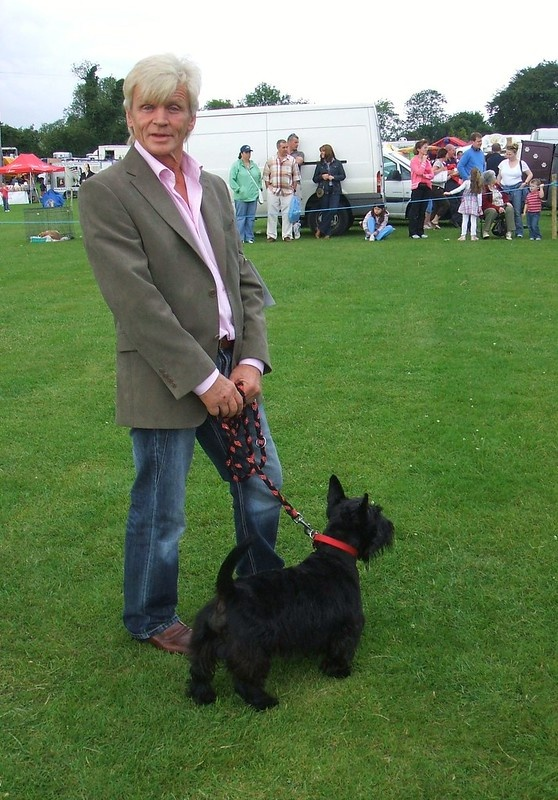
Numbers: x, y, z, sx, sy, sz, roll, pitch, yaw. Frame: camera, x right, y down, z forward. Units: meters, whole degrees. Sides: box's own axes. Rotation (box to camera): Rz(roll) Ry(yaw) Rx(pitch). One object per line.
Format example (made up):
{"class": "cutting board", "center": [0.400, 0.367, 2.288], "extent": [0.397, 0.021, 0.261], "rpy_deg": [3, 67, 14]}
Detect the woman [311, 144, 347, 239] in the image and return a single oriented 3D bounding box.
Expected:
{"class": "woman", "center": [1.015, -4.208, 14.061], "extent": [0.642, 1.790, 0.801], "rpy_deg": [3, 16, 4]}

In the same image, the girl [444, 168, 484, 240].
{"class": "girl", "center": [3.703, -3.782, 13.502], "extent": [0.563, 1.288, 1.860], "rpy_deg": [6, 16, 13]}

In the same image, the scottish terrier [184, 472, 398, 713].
{"class": "scottish terrier", "center": [0.082, 0.693, 2.465], "extent": [0.366, 0.640, 0.801], "rpy_deg": [17, 22, 42]}

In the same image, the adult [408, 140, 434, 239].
{"class": "adult", "center": [2.777, -4.094, 13.563], "extent": [0.435, 1.837, 1.042], "rpy_deg": [5, 16, 10]}

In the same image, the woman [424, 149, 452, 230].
{"class": "woman", "center": [3.531, -4.628, 14.951], "extent": [0.514, 1.403, 0.484], "rpy_deg": [3, 10, 15]}

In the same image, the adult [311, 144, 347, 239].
{"class": "adult", "center": [1.014, -4.206, 14.053], "extent": [0.643, 1.790, 0.784], "rpy_deg": [3, 16, 4]}

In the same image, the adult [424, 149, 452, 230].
{"class": "adult", "center": [3.544, -4.598, 15.025], "extent": [0.590, 1.587, 0.529], "rpy_deg": [-4, 16, -1]}

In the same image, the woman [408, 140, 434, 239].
{"class": "woman", "center": [2.780, -4.097, 13.574], "extent": [0.440, 1.837, 1.063], "rpy_deg": [5, 16, 10]}

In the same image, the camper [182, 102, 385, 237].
{"class": "camper", "center": [0.332, -4.620, 14.502], "extent": [5.268, 2.703, 2.851], "rpy_deg": [2, 30, 2]}

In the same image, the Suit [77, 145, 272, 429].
{"class": "Suit", "center": [-0.326, -0.381, 2.446], "extent": [0.454, 0.951, 0.659], "rpy_deg": [11, 18, 29]}

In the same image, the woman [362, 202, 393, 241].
{"class": "woman", "center": [2.000, -3.567, 13.974], "extent": [0.687, 0.917, 0.762], "rpy_deg": [0, 8, -4]}

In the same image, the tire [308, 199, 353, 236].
{"class": "tire", "center": [1.078, -3.879, 14.549], "extent": [0.697, 0.695, 0.243], "rpy_deg": [-2, 15, 1]}
